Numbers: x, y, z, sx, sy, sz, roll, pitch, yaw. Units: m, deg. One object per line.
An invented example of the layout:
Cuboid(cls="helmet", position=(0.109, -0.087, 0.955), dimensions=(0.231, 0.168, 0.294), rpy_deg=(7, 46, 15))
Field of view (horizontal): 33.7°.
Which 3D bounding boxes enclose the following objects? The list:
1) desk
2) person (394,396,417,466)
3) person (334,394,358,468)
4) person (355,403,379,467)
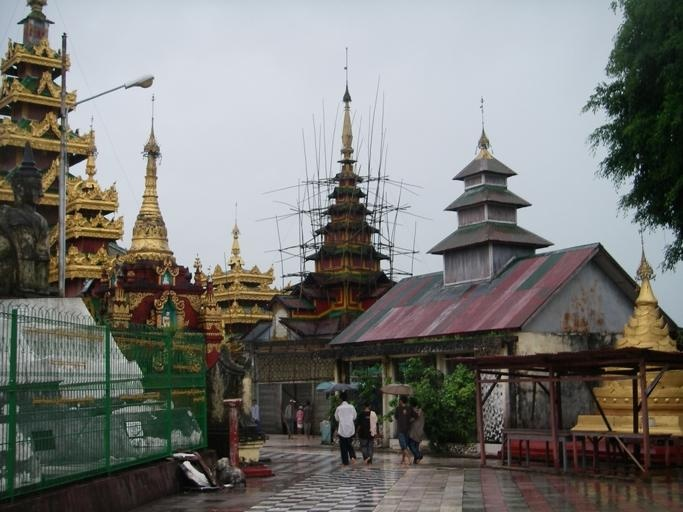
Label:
Cuboid(cls="desk", position=(5.829, 4.681, 26.947), dimensions=(4.187, 1.259, 3.031), rpy_deg=(-12, -16, 35))
Cuboid(cls="person", position=(1.688, 4.610, 29.734), dimensions=(0.450, 1.824, 1.374), rpy_deg=(-2, -12, 2))
Cuboid(cls="person", position=(0.140, 4.509, 29.113), dimensions=(0.498, 1.916, 1.106), rpy_deg=(-1, -11, -1))
Cuboid(cls="person", position=(0.689, 4.706, 29.803), dimensions=(0.513, 1.664, 1.194), rpy_deg=(-2, -12, 0))
